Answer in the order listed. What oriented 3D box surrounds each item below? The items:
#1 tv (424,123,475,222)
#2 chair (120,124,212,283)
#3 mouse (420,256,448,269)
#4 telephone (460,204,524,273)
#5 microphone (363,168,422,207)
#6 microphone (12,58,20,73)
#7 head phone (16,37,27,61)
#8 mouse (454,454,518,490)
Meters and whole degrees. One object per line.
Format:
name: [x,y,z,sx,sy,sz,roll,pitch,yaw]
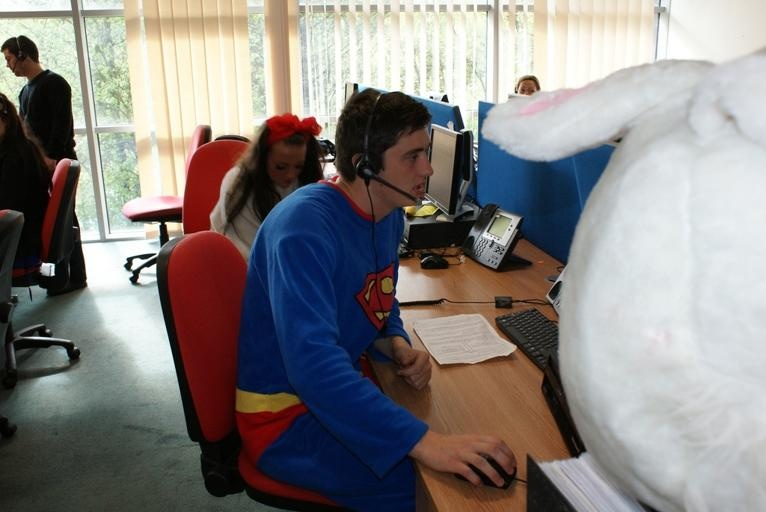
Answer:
tv: [0.328,-0.408,2.598,0.130,0.410,0.391,-1,20,-12]
chair: [-1.625,-0.367,3.916,0.506,0.919,0.425,-1,3,-12]
mouse: [0.213,0.020,2.195,0.091,0.037,0.055,-1,17,-15]
telephone: [0.470,-0.076,2.270,0.155,0.252,0.248,5,15,-27]
microphone: [0.017,-0.186,1.421,0.135,0.028,0.037,34,13,-39]
microphone: [-2.670,-1.381,3.857,0.028,0.079,0.055,3,9,-31]
head phone: [-2.618,-1.494,3.828,0.059,0.163,0.087,-9,18,-32]
mouse: [0.211,0.434,1.069,0.100,0.028,0.060,15,32,25]
